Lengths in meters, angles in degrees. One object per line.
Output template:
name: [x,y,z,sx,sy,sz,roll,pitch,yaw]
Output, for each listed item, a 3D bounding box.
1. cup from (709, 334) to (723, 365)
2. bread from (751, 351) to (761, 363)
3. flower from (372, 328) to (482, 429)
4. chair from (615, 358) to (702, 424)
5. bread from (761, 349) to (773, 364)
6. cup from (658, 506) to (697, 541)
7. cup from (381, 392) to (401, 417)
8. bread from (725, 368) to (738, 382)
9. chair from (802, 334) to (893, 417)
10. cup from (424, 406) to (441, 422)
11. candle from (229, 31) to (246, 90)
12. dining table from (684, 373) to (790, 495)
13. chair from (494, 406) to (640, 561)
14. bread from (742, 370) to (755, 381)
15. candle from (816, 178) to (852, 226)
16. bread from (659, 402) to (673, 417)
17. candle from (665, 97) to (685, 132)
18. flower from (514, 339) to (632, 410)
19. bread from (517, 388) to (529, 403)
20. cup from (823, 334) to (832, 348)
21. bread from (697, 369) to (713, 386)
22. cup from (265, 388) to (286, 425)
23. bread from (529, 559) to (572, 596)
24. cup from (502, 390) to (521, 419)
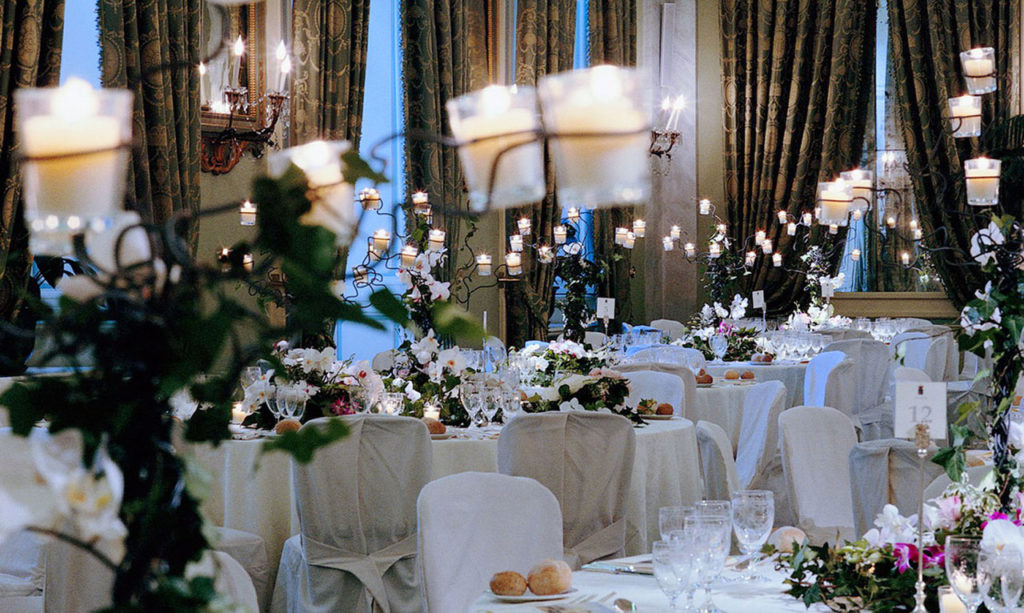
cup: [1.893,0.367,13.885,0.191,0.324,0.193,-2,-1,0]
bread: [2.289,0.464,13.803,0.033,0.090,0.062,8,-8,-31]
flower: [-0.625,0.446,10.789,0.631,0.777,0.680,11,21,0]
chair: [1.226,0.678,11.949,0.453,0.472,0.402,-15,-7,-32]
bread: [2.365,0.464,13.750,0.091,0.057,0.096,-9,0,-1]
cup: [0.915,1.203,8.301,0.172,0.218,0.177,1,-11,0]
cup: [-0.833,0.669,10.371,0.131,0.118,0.139,0,-5,0]
bread: [1.904,0.583,12.833,0.084,0.094,0.089,-4,8,3]
chair: [2.914,0.615,13.015,0.684,1.027,0.749,0,2,-38]
cup: [-0.558,0.755,10.517,0.087,0.102,0.093,-1,-1,0]
candle: [-2.455,-2.127,13.431,0.073,0.300,0.076,17,12,28]
dining table: [1.909,1.012,11.740,0.619,0.681,0.846,-28,-8,24]
chair: [0.461,1.190,10.261,0.910,1.278,0.900,4,-4,-43]
bread: [2.061,0.592,12.943,0.084,0.064,0.089,0,-4,27]
candle: [2.571,-0.833,11.840,0.257,0.339,0.370,-3,1,13]
bread: [1.126,0.759,10.898,0.089,0.092,0.095,7,37,-27]
candle: [1.860,-2.194,17.033,0.189,0.231,0.729,22,17,8]
flower: [0.529,0.538,10.729,0.706,0.363,0.777,4,-9,-16]
bread: [0.090,0.631,10.649,0.075,0.084,0.073,-6,-12,29]
cup: [3.010,0.324,14.190,0.105,0.123,0.106,-1,4,0]
bread: [1.624,0.587,12.486,0.112,0.054,0.117,18,21,12]
cup: [-1.609,0.648,10.212,0.155,0.280,0.183,1,-5,-17]
bread: [0.214,1.507,8.439,0.186,0.142,0.178,4,0,-25]
cup: [0.003,0.693,10.453,0.148,0.188,0.154,-1,0,0]
